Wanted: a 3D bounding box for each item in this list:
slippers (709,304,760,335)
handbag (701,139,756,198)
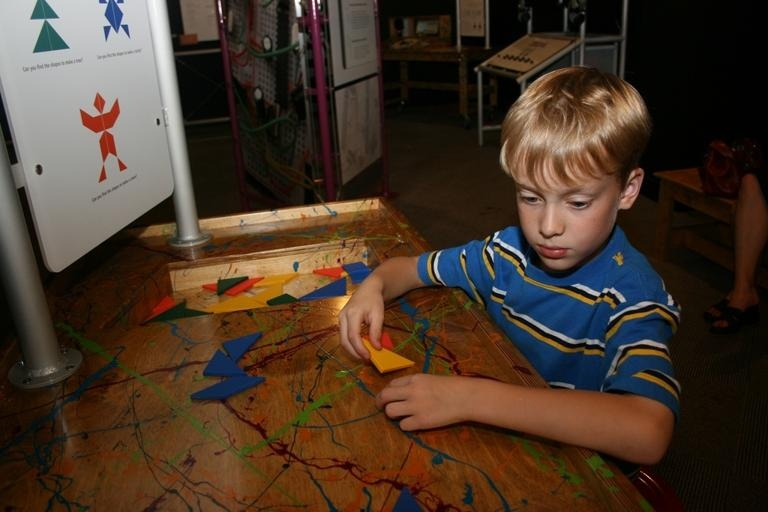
[{"bbox_3d":[1.637,0.288,2.463,0.213,0.078,0.135,-11,32,1],"label":"slippers"},{"bbox_3d":[1.708,-0.447,2.575,0.125,0.274,0.265,4,10,-26],"label":"handbag"}]
